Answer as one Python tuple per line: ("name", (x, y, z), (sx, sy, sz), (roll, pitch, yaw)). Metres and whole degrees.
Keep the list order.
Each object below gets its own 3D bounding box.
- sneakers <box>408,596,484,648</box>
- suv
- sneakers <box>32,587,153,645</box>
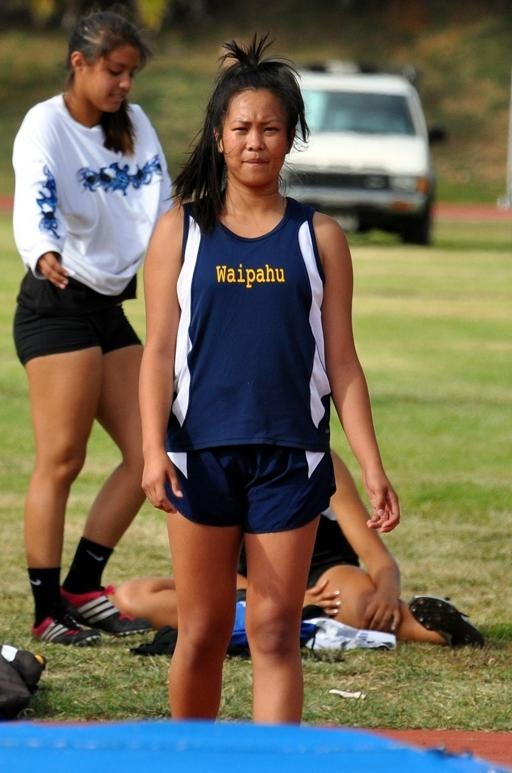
("sneakers", (0.612, 0.810, 3.296), (0.150, 0.127, 0.342), (11, -2, 6))
("suv", (0.946, -2.722, 10.298), (2.047, 1.470, 3.409), (1, 8, 4))
("sneakers", (-0.584, 0.820, 3.361), (0.473, 0.189, 0.146), (-4, 4, -12))
